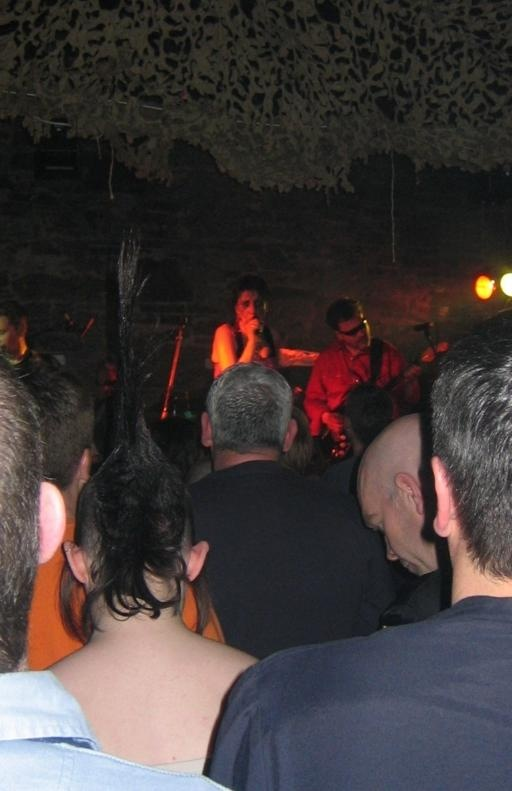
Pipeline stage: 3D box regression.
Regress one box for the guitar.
[{"bbox_3d":[0.622,0.046,4.882,0.547,0.840,0.136,9,-13,-14],"label":"guitar"}]
